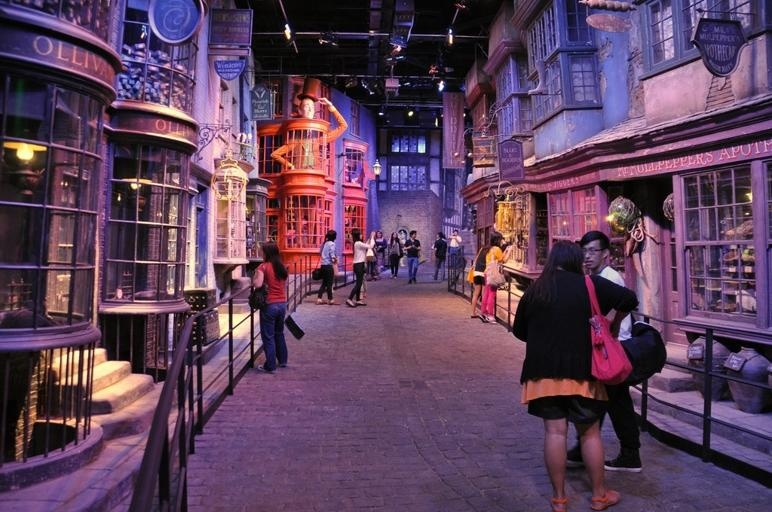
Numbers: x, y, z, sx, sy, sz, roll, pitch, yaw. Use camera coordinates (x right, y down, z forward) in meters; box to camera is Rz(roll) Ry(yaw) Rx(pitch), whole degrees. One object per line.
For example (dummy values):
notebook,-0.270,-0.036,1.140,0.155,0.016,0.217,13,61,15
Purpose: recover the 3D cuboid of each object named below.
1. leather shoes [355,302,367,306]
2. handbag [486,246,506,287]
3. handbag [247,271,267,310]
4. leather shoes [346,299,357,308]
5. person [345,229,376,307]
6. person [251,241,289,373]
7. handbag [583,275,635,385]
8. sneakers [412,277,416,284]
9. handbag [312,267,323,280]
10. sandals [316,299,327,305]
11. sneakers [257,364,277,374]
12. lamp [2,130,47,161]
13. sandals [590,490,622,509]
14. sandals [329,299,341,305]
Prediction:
leather shoes,-0.731,1.426,17.454,0.326,0.137,0.110,0,0,-2
handbag,2.665,0.278,14.384,0.421,0.679,0.835,1,0,9
handbag,-2.193,0.598,10.033,0.226,0.584,0.292,2,-1,-41
leather shoes,-1.027,1.404,17.279,0.361,0.150,0.132,20,22,-34
person,-0.707,0.358,17.479,0.995,2.327,0.752,0,-3,-29
person,-2.003,0.886,10.242,0.567,2.025,0.690,1,0,-7
handbag,2.287,0.775,6.048,0.462,1.139,0.233,1,0,8
sneakers,1.211,1.056,24.742,0.168,0.294,0.188,1,-2,0
handbag,-1.866,0.498,16.157,0.188,0.382,0.531,-2,-3,3
sandals,-1.911,1.376,17.776,0.140,0.175,0.432,7,10,39
sneakers,-2.089,1.945,10.217,0.127,0.101,0.314,0,5,-37
lamp,-4.081,-1.199,6.668,0.409,0.296,0.195,1,0,-34
sandals,2.313,2.551,6.196,0.307,0.127,0.155,-7,5,-38
sandals,-1.546,1.414,17.800,0.408,0.190,0.122,-9,12,-22
